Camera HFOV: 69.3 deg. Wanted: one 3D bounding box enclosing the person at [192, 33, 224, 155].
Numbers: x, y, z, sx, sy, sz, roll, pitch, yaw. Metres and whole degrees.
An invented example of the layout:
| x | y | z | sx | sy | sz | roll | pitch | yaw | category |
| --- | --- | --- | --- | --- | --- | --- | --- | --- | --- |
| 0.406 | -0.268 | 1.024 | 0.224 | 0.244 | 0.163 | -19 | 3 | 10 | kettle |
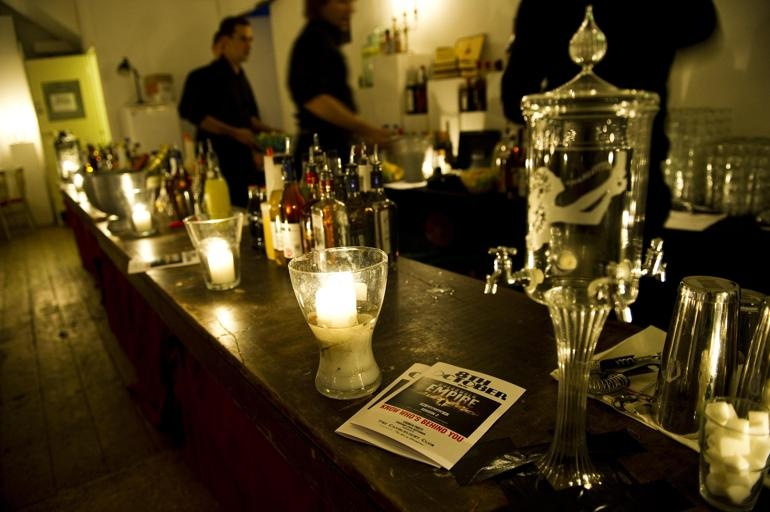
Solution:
| x | y | z | sx | sy | sz | roll | pitch | yaw | category |
| --- | --- | --- | --- | --- | --- | --- | --- | --- | --- |
| -1.220 | -1.148 | 3.861 | 0.249 | 0.734 | 0.511 | -9 | 17 | -18 | person |

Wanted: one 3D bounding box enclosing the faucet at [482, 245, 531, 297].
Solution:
| x | y | z | sx | sy | sz | roll | pitch | yaw | category |
| --- | --- | --- | --- | --- | --- | --- | --- | --- | --- |
| 0.285 | 0.024 | 1.316 | 0.093 | 0.111 | 0.185 | -1 | 16 | 9 | faucet |

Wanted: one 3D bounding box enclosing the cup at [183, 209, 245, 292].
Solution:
| x | y | z | sx | sy | sz | roll | pitch | yaw | category |
| --- | --- | --- | --- | --- | --- | --- | --- | --- | --- |
| -0.567 | -0.028 | 2.074 | 0.268 | 0.292 | 0.263 | -2 | 8 | 0 | cup |

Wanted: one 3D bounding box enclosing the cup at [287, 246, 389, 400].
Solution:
| x | y | z | sx | sy | sz | roll | pitch | yaw | category |
| --- | --- | --- | --- | --- | --- | --- | --- | --- | --- |
| -0.107 | 0.179 | 1.550 | 0.265 | 0.363 | 0.247 | -3 | 16 | 1 | cup |

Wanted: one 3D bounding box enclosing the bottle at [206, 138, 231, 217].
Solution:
| x | y | z | sx | sy | sz | roll | pitch | yaw | category |
| --- | --- | --- | --- | --- | --- | --- | --- | --- | --- |
| -0.819 | -0.370 | 2.671 | 0.113 | 0.316 | 0.253 | -9 | 17 | -17 | bottle |

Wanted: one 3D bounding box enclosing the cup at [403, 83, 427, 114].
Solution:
| x | y | z | sx | sy | sz | roll | pitch | yaw | category |
| --- | --- | --- | --- | --- | --- | --- | --- | --- | --- |
| 0.191 | -0.982 | 3.408 | 0.114 | 0.204 | 0.124 | -4 | 22 | 2 | cup |

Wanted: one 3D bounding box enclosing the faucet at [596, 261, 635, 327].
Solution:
| x | y | z | sx | sy | sz | roll | pitch | yaw | category |
| --- | --- | --- | --- | --- | --- | --- | --- | --- | --- |
| 0.512 | 0.084 | 1.213 | 0.053 | 0.153 | 0.108 | 12 | 22 | 41 | faucet |

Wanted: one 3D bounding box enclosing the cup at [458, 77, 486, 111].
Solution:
| x | y | z | sx | sy | sz | roll | pitch | yaw | category |
| --- | --- | --- | --- | --- | --- | --- | --- | --- | --- |
| 0.533 | -0.934 | 3.222 | 0.123 | 0.195 | 0.213 | -20 | 26 | -33 | cup |

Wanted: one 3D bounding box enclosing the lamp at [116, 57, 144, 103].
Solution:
| x | y | z | sx | sy | sz | roll | pitch | yaw | category |
| --- | --- | --- | --- | --- | --- | --- | --- | --- | --- |
| -2.345 | -1.623 | 5.167 | 0.153 | 0.416 | 0.249 | -18 | 22 | -41 | lamp |
